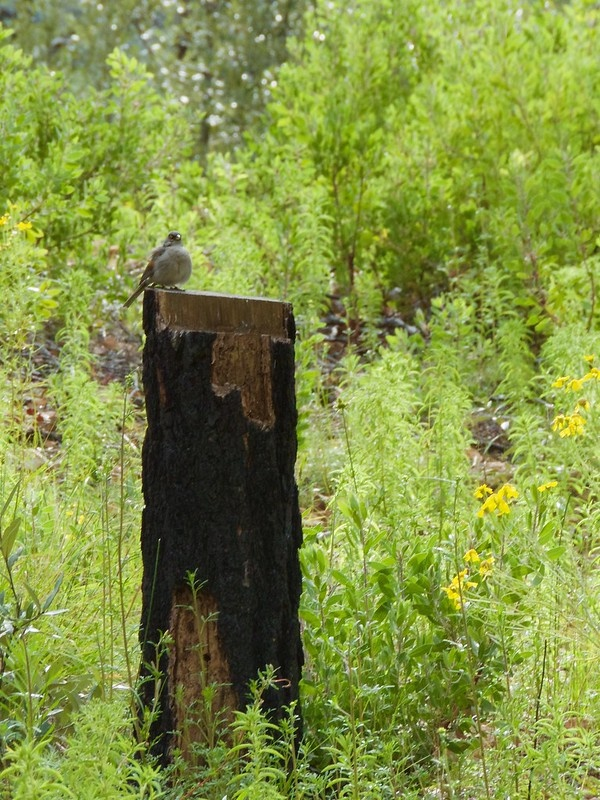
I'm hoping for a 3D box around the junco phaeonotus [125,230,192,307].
[{"bbox_3d":[-0.550,-0.526,4.421,0.133,0.232,0.361,-7,9,-41],"label":"junco phaeonotus"}]
